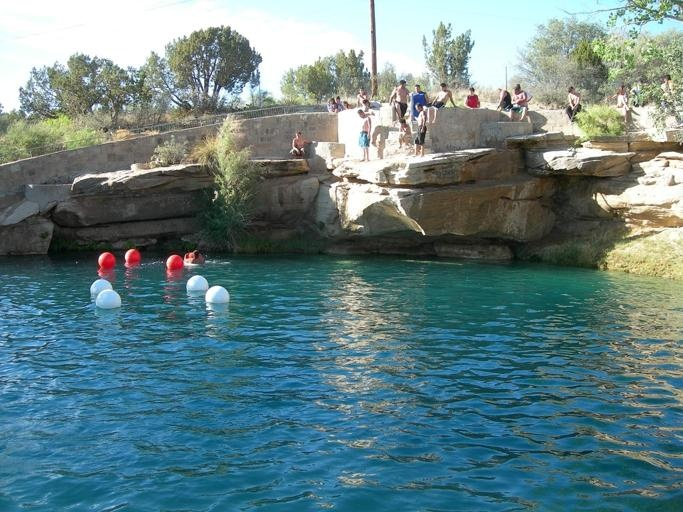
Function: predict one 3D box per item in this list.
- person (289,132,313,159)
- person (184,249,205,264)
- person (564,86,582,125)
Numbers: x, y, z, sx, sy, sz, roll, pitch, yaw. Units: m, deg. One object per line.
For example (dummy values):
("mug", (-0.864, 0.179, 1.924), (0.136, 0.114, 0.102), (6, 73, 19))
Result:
("person", (-1.790, -4.828, 28.606), (0.798, 1.133, 2.096), (-1, 13, -3))
("person", (-5.610, 0.162, 24.105), (0.762, 0.301, 0.621), (10, 15, 33))
("person", (9.538, -6.129, 26.446), (0.604, 1.405, 1.291), (4, 15, 18))
